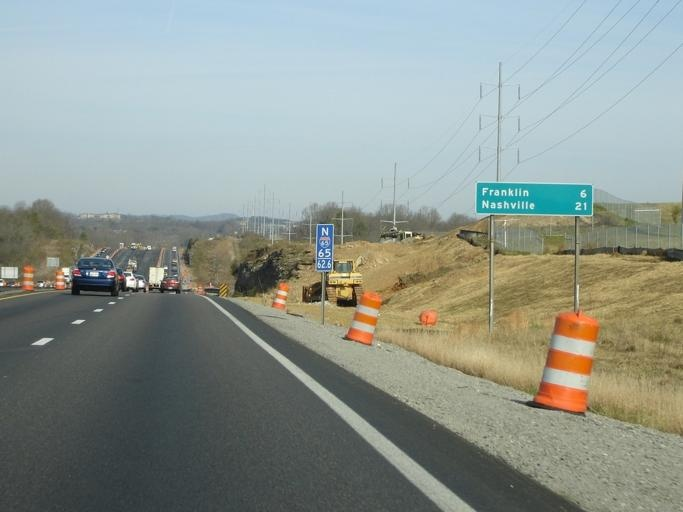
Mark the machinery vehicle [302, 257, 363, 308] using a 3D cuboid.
[{"bbox_3d":[-0.475,1.663,51.890,2.817,3.185,5.766,0,5,-15],"label":"machinery vehicle"}]

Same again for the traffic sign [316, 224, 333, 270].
[{"bbox_3d":[-0.559,-0.301,21.825,0.553,1.669,0.016,1,25,-6],"label":"traffic sign"}]

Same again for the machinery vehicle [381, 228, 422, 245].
[{"bbox_3d":[9.912,-3.763,115.401,5.571,2.812,24.792,3,2,5],"label":"machinery vehicle"}]
